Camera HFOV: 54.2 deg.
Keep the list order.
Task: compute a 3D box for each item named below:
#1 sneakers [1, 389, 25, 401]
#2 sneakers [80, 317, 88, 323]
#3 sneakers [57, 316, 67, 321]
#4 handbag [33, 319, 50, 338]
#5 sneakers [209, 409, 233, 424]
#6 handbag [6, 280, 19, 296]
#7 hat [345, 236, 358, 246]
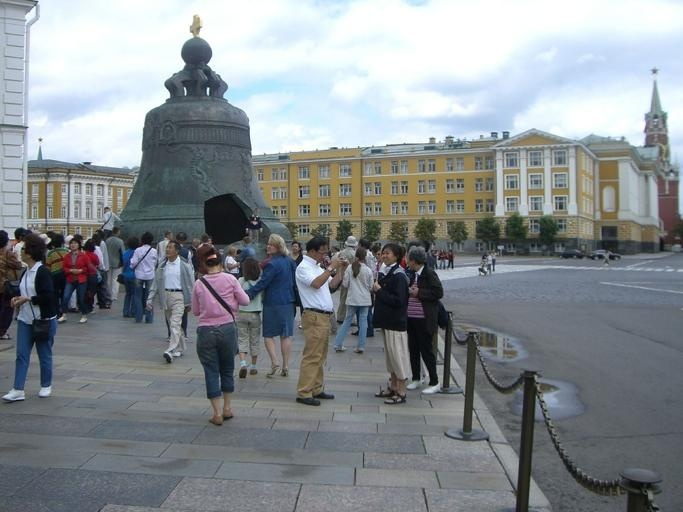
[{"bbox_3d":[-3.811,1.627,7.808,0.290,0.124,0.112,2,-5,-6],"label":"sneakers"},{"bbox_3d":[-5.326,1.324,13.766,0.092,0.086,0.200,0,-4,0],"label":"sneakers"},{"bbox_3d":[-5.714,1.291,13.665,0.212,0.082,0.072,-2,-9,19],"label":"sneakers"},{"bbox_3d":[-3.558,0.860,7.894,0.212,0.285,0.114,2,6,-12],"label":"handbag"},{"bbox_3d":[-1.318,1.769,7.323,0.165,0.111,0.279,0,1,-11],"label":"sneakers"},{"bbox_3d":[-5.253,0.501,10.658,0.255,0.243,0.125,-1,0,-44],"label":"handbag"},{"bbox_3d":[0.210,-0.258,12.732,0.209,0.146,0.225,-4,13,-13],"label":"hat"}]
